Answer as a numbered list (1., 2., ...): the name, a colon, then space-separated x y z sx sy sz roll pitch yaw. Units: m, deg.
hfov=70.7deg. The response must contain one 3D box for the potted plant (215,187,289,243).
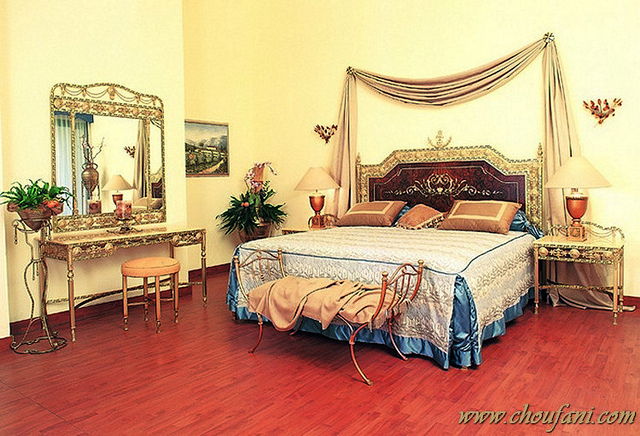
1. potted plant: -1.149 -0.050 7.481 0.924 0.777 0.986 0 -3 9

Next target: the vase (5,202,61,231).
1. vase: -2.944 -0.048 4.652 0.336 0.187 0.348 2 -1 -20

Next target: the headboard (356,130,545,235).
1. headboard: 1.997 -0.386 6.359 2.879 1.318 0.887 4 3 37

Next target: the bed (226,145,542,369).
1. bed: 1.130 0.187 5.363 2.526 1.904 2.928 5 13 30

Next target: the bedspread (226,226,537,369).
1. bedspread: 0.824 0.757 6.026 2.991 1.180 3.617 0 2 31

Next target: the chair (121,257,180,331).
1. chair: -1.879 0.892 5.299 0.700 0.910 0.741 0 2 -4

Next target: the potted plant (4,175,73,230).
1. potted plant: -2.988 -0.164 4.856 0.585 0.453 0.624 3 1 8

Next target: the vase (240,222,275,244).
1. vase: -1.039 0.275 7.584 0.362 0.309 0.395 -1 -3 -7
